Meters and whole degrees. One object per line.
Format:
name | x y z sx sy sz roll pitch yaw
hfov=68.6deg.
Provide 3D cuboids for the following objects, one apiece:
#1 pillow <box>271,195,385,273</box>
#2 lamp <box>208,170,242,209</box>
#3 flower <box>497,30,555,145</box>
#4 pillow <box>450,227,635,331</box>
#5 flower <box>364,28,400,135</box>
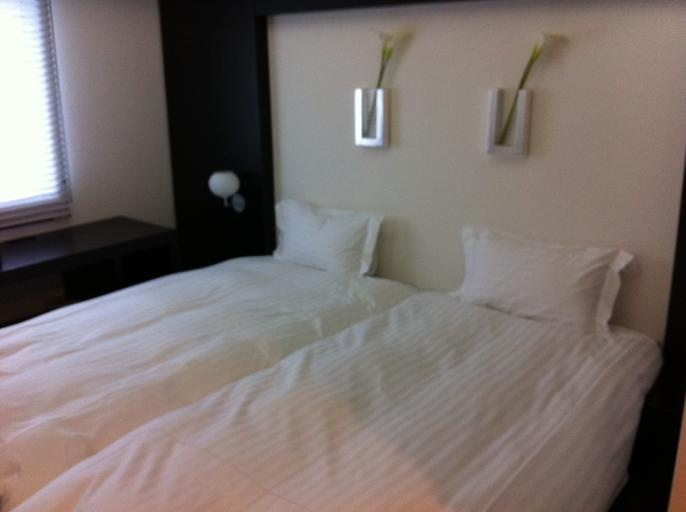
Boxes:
pillow | -0.147 -0.122 3.468 0.771 0.484 0.266 12 -4 26
lamp | -0.859 -0.501 3.757 0.196 0.360 0.165 2 28 -14
flower | 0.983 -0.878 2.690 0.259 0.571 0.086 7 18 17
pillow | 1.037 0.111 2.748 0.855 0.486 0.281 12 9 29
flower | 0.250 -1.054 3.134 0.229 0.613 0.101 14 21 34
